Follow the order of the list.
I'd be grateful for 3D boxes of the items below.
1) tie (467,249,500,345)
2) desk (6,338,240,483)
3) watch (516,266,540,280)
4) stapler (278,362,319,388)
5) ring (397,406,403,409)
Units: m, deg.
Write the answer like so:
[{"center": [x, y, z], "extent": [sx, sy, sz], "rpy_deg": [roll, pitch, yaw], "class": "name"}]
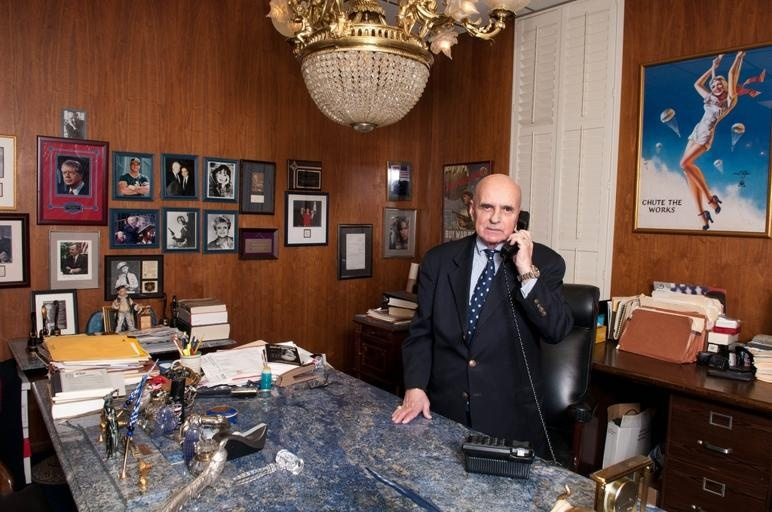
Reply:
[{"center": [0.579, 0.232, 3.176], "extent": [0.139, 0.593, 0.081], "rpy_deg": [15, -8, 40], "class": "tie"}, {"center": [-2.320, 1.106, 4.101], "extent": [0.900, 1.289, 1.318], "rpy_deg": [2, -3, -38], "class": "desk"}, {"center": [0.784, 0.104, 2.947], "extent": [0.084, 0.027, 0.076], "rpy_deg": [-23, 11, 6], "class": "watch"}, {"center": [-0.531, 0.678, 3.101], "extent": [0.153, 0.059, 0.114], "rpy_deg": [-17, -1, -42], "class": "stapler"}, {"center": [0.069, 0.804, 2.832], "extent": [0.014, 0.014, 0.014], "rpy_deg": [0, -2, 0], "class": "ring"}]
